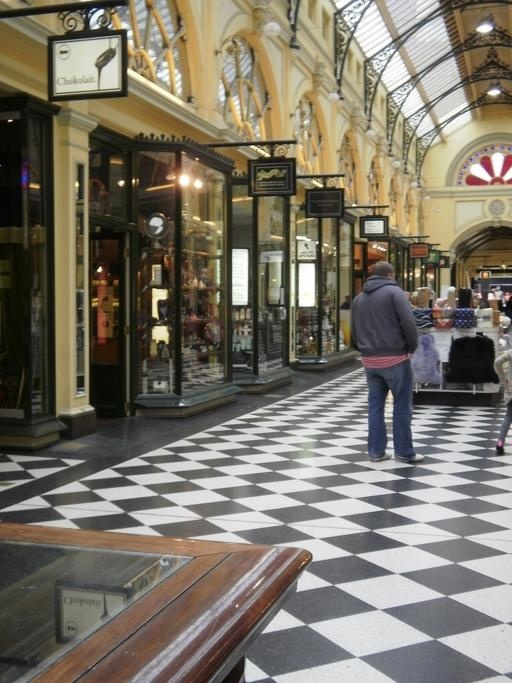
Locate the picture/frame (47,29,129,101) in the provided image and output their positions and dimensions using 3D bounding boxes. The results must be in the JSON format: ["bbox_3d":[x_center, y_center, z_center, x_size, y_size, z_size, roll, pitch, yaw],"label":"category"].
[{"bbox_3d":[-1.461,-2.392,5.096,0.716,0.569,0.069,0,1,16],"label":"picture/frame"}]

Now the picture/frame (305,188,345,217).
[{"bbox_3d":[1.522,-3.057,12.964,0.699,0.478,0.070,0,6,5],"label":"picture/frame"}]

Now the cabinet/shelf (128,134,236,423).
[{"bbox_3d":[-0.991,-0.874,8.403,0.629,2.652,1.588,0,0,35],"label":"cabinet/shelf"}]

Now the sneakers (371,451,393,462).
[{"bbox_3d":[1.216,1.094,5.681,0.241,0.094,0.079,-11,16,-43],"label":"sneakers"}]

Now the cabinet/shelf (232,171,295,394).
[{"bbox_3d":[0.057,-0.940,10.580,0.718,3.676,1.533,0,0,20],"label":"cabinet/shelf"}]

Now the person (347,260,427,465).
[{"bbox_3d":[1.212,0.278,5.484,0.636,1.739,0.368,0,0,14],"label":"person"}]

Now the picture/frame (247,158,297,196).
[{"bbox_3d":[0.266,-2.735,9.786,0.686,0.530,0.049,0,-1,3],"label":"picture/frame"}]

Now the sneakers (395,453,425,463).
[{"bbox_3d":[1.473,1.116,5.601,0.252,0.101,0.096,-3,7,8],"label":"sneakers"}]
